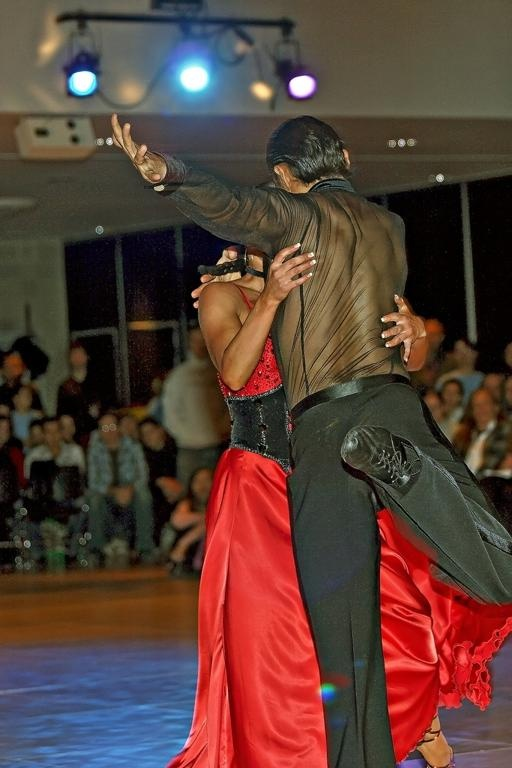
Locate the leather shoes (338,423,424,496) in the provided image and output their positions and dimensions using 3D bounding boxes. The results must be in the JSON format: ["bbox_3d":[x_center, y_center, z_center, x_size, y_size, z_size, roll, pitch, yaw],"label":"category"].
[{"bbox_3d":[0.158,0.101,1.059,0.137,0.076,0.047,40,-31,-25],"label":"leather shoes"}]
